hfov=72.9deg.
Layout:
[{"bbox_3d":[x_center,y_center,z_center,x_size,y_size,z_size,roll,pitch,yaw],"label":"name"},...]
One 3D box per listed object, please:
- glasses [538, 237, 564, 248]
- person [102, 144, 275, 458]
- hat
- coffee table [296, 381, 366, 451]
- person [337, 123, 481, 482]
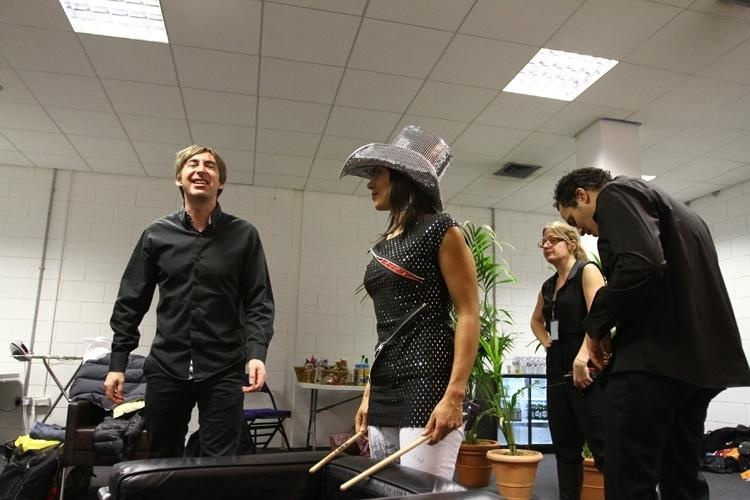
[{"bbox_3d":[1.457,-0.076,4.122,0.106,0.031,0.103,15,-25,-29],"label":"glasses"},{"bbox_3d":[-1.025,0.242,2.841,0.889,1.700,0.455,2,-16,-12],"label":"person"},{"bbox_3d":[0.130,-0.374,2.430,0.496,0.266,0.393,23,-25,3],"label":"hat"},{"bbox_3d":[-0.646,2.026,6.546,1.033,0.956,1.019,1,-19,-1],"label":"coffee table"},{"bbox_3d":[0.157,0.185,2.297,0.601,1.573,0.400,-4,-16,9],"label":"person"}]
